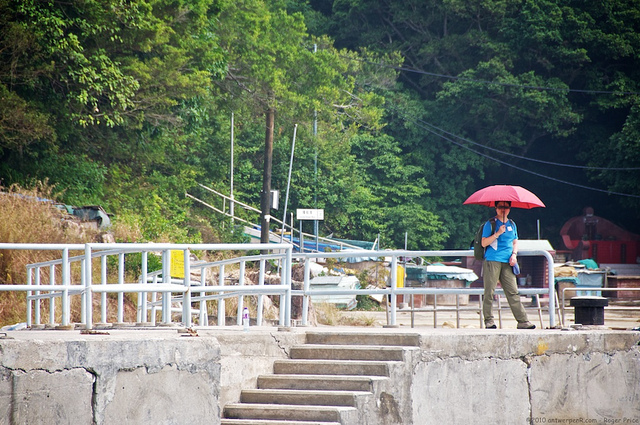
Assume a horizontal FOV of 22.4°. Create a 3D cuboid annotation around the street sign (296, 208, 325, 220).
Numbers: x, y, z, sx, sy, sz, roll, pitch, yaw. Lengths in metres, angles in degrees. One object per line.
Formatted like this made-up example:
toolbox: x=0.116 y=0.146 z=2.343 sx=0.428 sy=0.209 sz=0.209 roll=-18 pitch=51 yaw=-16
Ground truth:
street sign: x=-0.500 y=0.039 z=89.993 sx=1.312 sy=0.591 sz=1.982 roll=2 pitch=-2 yaw=5
